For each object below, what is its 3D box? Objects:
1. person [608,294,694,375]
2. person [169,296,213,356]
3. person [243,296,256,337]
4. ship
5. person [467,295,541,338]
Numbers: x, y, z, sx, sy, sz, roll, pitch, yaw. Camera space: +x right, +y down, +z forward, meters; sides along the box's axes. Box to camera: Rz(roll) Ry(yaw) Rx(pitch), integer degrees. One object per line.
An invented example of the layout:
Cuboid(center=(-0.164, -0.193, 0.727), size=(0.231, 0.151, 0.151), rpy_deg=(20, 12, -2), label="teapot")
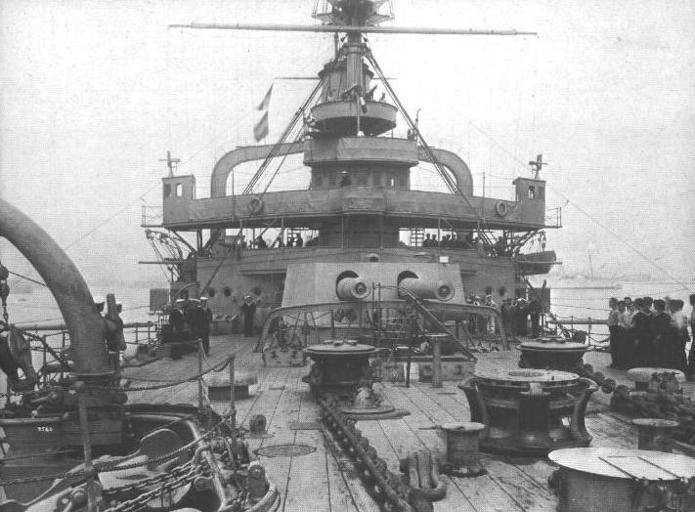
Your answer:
Cuboid(center=(5.700, 1.499, 21.522), size=(0.852, 1.381, 2.085), rpy_deg=(-2, -4, -10), label="person")
Cuboid(center=(-3.469, 1.561, 24.952), size=(0.775, 1.215, 1.472), rpy_deg=(-2, -3, 3), label="person")
Cuboid(center=(-2.560, 1.584, 29.455), size=(0.326, 1.075, 1.265), rpy_deg=(-2, -3, -5), label="person")
Cuboid(center=(-0.296, -0.665, 25.276), size=(11.183, 7.537, 11.241), rpy_deg=(0, 1, -5), label="ship")
Cuboid(center=(4.160, 1.573, 28.413), size=(0.826, 1.085, 2.679), rpy_deg=(4, -6, -40), label="person")
